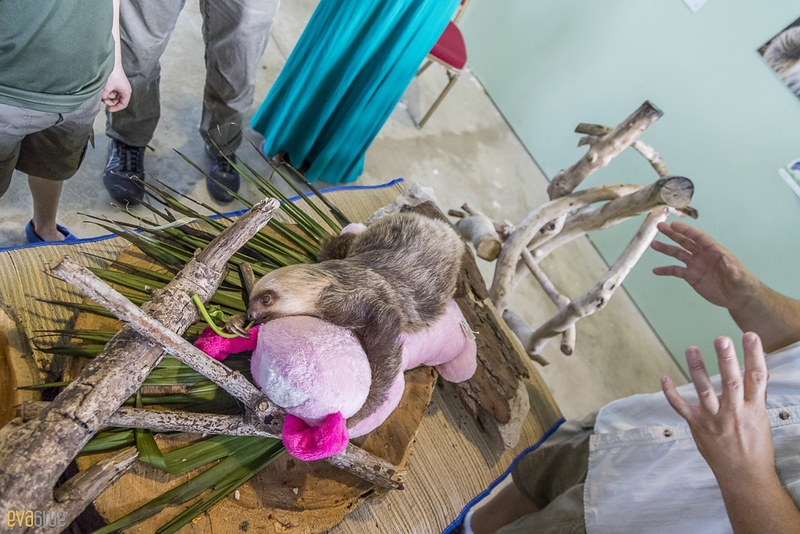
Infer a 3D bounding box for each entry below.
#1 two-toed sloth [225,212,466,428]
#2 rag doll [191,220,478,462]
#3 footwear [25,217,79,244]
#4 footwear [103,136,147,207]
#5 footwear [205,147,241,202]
[{"bbox_3d":[-0.179,0.085,2.290,0.688,0.377,0.983,20,34,27],"label":"two-toed sloth"},{"bbox_3d":[-0.147,0.249,2.175,0.793,0.272,0.683,-30,53,-22],"label":"rag doll"},{"bbox_3d":[-1.456,-0.150,2.743,0.168,0.068,0.067,23,35,-15],"label":"footwear"},{"bbox_3d":[-1.235,-0.426,2.965,0.130,0.153,0.387,2,67,-43],"label":"footwear"},{"bbox_3d":[-0.841,-0.432,3.119,0.118,0.131,0.332,-11,72,-32],"label":"footwear"}]
